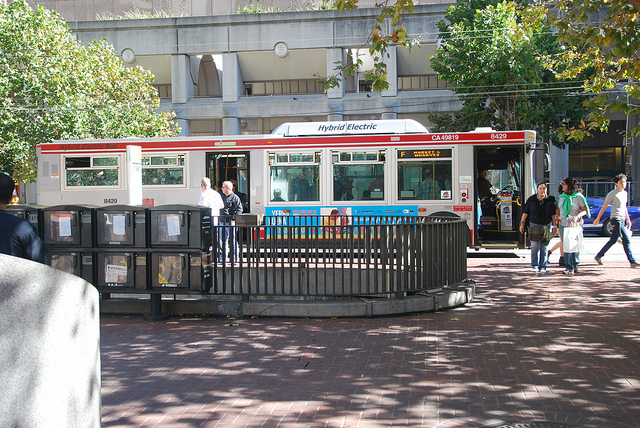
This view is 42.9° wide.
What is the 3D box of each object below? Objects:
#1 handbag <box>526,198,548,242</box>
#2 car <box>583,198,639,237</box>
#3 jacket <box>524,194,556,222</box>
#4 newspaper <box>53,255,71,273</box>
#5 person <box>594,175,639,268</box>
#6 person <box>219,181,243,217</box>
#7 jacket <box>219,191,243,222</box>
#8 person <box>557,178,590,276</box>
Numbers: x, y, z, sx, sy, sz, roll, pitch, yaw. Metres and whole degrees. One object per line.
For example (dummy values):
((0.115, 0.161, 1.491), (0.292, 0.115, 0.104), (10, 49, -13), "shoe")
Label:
((5.538, 0.138, 20.991), (0.343, 1.104, 0.626), (0, -1, -39), "handbag")
((9.270, 0.116, 26.030), (2.741, 0.887, 1.353), (1, 3, 16), "car")
((5.682, -0.183, 20.997), (0.719, 0.684, 0.345), (-1, -1, 15), "jacket")
((-5.107, 0.981, 16.239), (0.459, 0.308, 0.245), (1, -4, -6), "newspaper")
((7.824, 0.183, 21.488), (1.036, 2.446, 1.146), (-1, -1, 20), "person")
((-2.385, -0.396, 22.043), (0.576, 1.021, 0.862), (4, 10, 16), "person")
((-2.283, -0.195, 20.903), (0.821, 0.752, 0.459), (0, -3, 36), "jacket")
((6.537, 0.303, 21.041), (0.733, 2.508, 1.066), (-1, -1, 18), "person")
